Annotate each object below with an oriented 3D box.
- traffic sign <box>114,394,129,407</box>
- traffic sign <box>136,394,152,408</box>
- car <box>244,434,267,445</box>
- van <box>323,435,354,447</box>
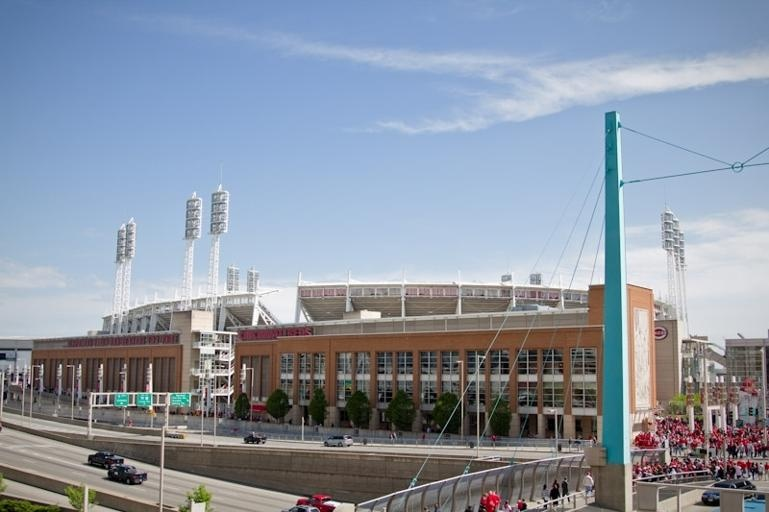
[{"bbox_3d":[-28.777,15.543,94.110,1.289,1.290,2.108,3,-10,-23],"label":"traffic sign"},{"bbox_3d":[-25.851,15.273,92.513,1.238,1.277,1.775,4,-11,-32],"label":"traffic sign"},{"bbox_3d":[-16.613,23.121,109.811,2.556,1.235,1.843,2,-10,-19],"label":"car"},{"bbox_3d":[-5.671,22.492,105.001,2.482,1.019,1.592,1,-8,22],"label":"van"}]
